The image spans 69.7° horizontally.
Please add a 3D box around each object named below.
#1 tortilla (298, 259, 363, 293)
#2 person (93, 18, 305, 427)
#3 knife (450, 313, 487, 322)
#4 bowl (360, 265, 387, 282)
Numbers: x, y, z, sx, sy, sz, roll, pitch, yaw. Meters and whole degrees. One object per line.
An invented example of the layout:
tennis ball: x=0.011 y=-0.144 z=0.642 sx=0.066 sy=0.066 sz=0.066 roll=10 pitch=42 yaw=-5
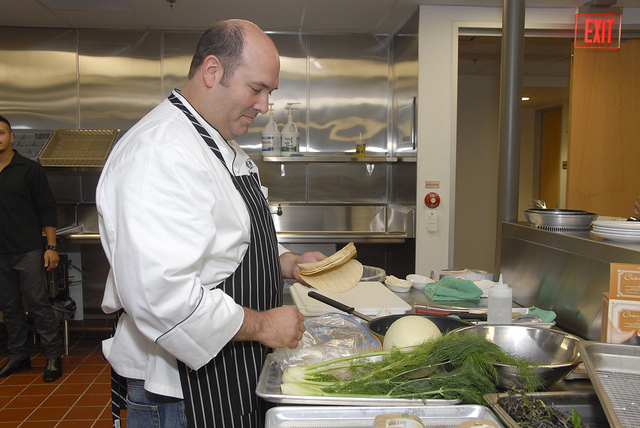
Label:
tortilla: x=0.060 y=0.236 z=2.004 sx=0.272 sy=0.065 sz=0.330 roll=-30 pitch=19 yaw=-38
person: x=-0.428 y=0.077 z=1.721 sx=0.717 sy=1.645 sz=0.643 roll=-4 pitch=12 yaw=-28
knife: x=0.701 y=0.481 z=2.162 sx=0.161 sy=0.021 sz=0.066 roll=4 pitch=10 yaw=10
bowl: x=0.342 y=0.391 z=2.947 sx=0.144 sy=0.051 sz=0.202 roll=4 pitch=10 yaw=12
